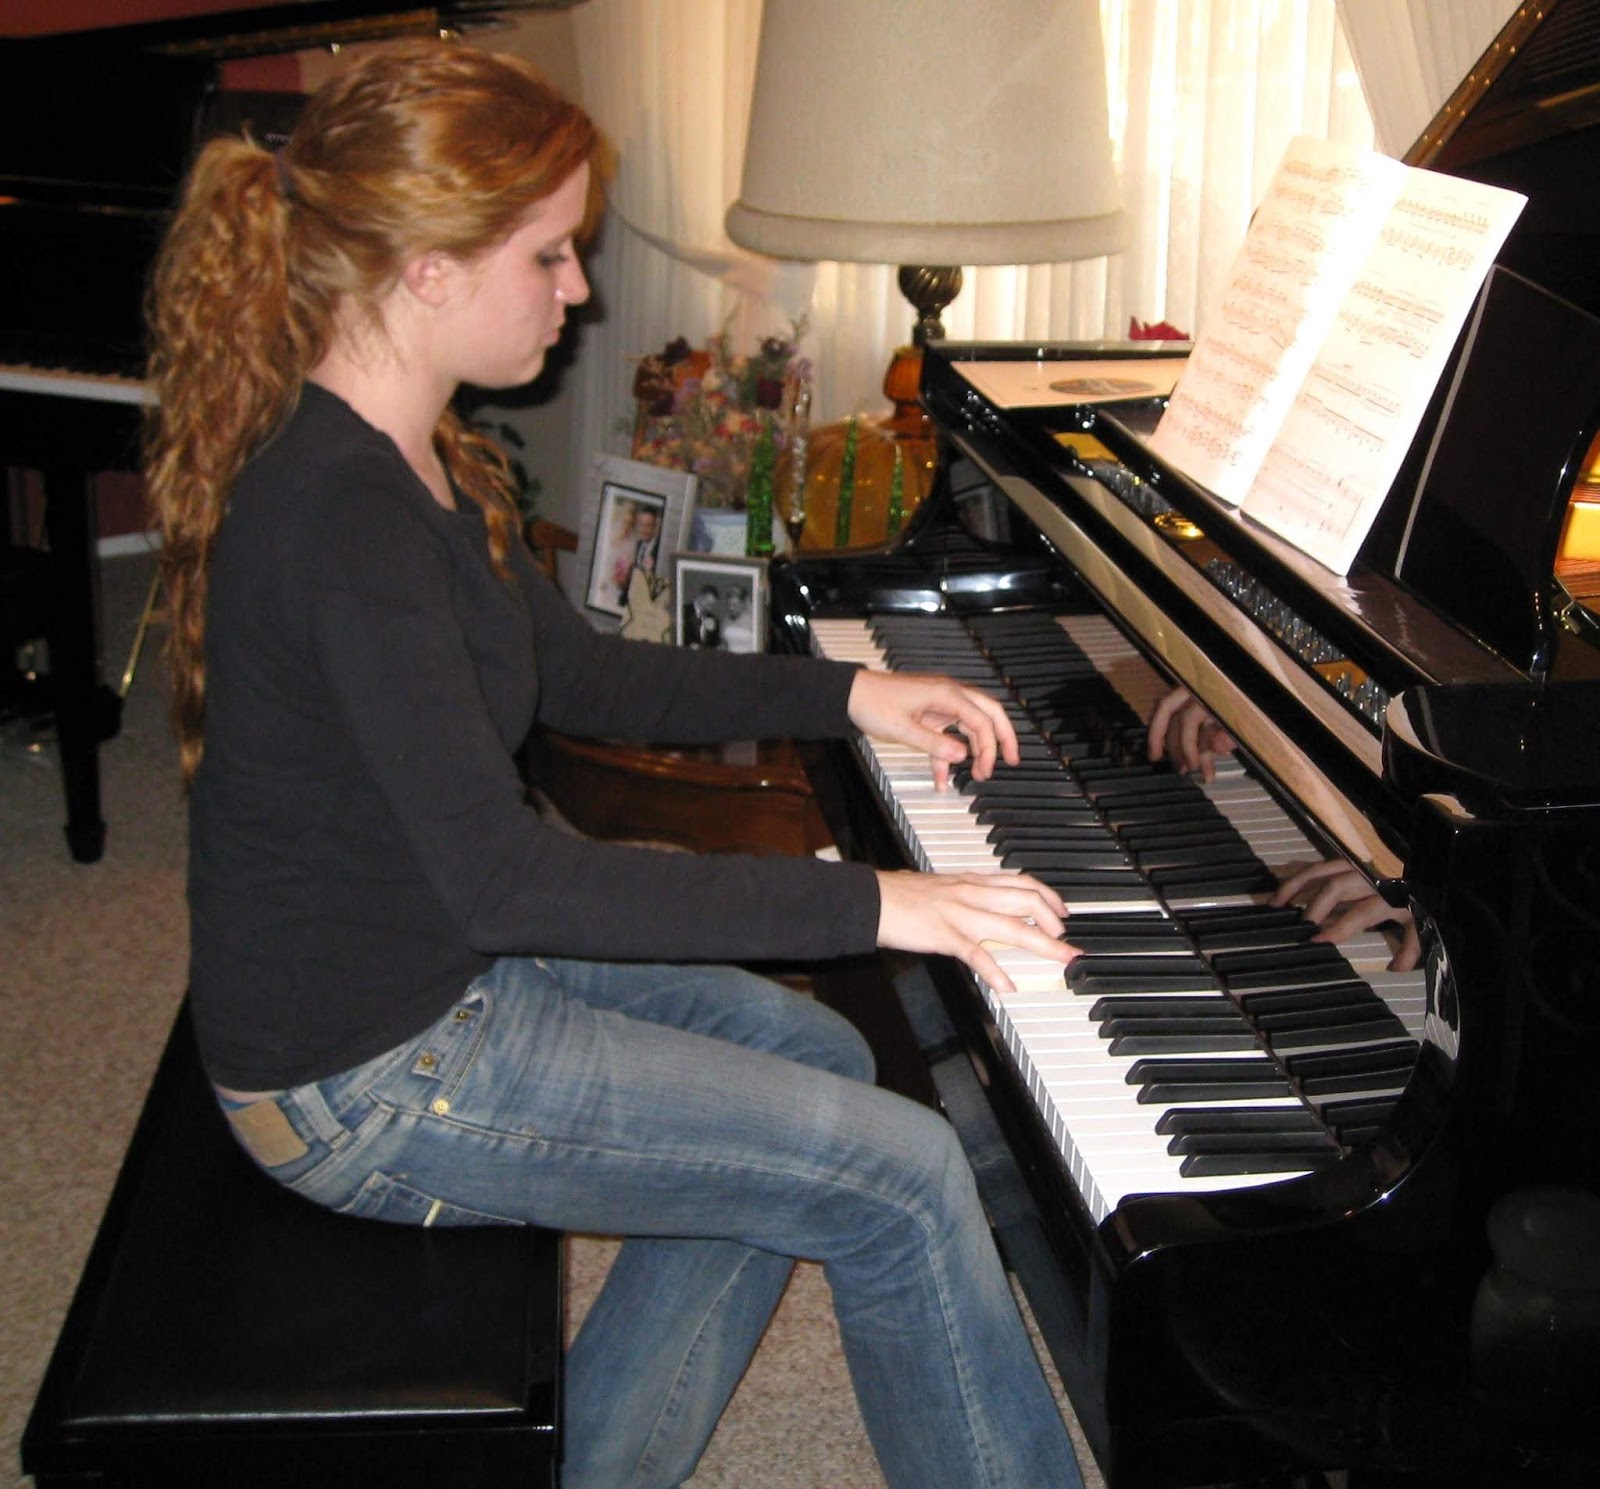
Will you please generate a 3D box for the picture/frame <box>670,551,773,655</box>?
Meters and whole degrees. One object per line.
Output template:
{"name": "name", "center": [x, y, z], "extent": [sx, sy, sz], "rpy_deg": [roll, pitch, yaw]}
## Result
{"name": "picture/frame", "center": [-0.141, -0.223, 2.404], "extent": [0.170, 0.169, 0.014], "rpy_deg": [0, 5, -20]}
